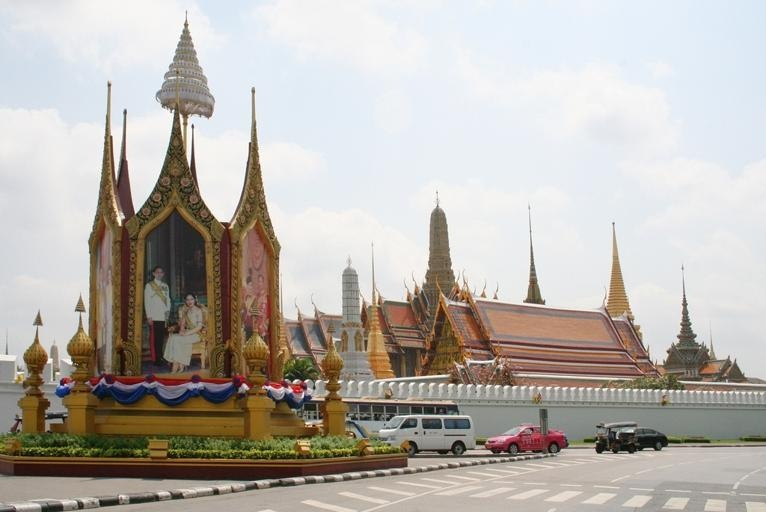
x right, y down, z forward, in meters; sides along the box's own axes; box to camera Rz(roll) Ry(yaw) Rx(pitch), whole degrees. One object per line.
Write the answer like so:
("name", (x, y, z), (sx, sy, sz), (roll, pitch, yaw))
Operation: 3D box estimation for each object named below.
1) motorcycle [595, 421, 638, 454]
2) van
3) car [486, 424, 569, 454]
("motorcycle", (9.759, 7.601, 61.296), (1.839, 1.101, 1.139), (19, -29, -29))
("van", (1.918, 7.005, 57.374), (3.829, 1.700, 0.956), (4, -16, -23))
("car", (5.920, 7.413, 59.152), (3.487, 1.311, 1.052), (9, -19, -37))
